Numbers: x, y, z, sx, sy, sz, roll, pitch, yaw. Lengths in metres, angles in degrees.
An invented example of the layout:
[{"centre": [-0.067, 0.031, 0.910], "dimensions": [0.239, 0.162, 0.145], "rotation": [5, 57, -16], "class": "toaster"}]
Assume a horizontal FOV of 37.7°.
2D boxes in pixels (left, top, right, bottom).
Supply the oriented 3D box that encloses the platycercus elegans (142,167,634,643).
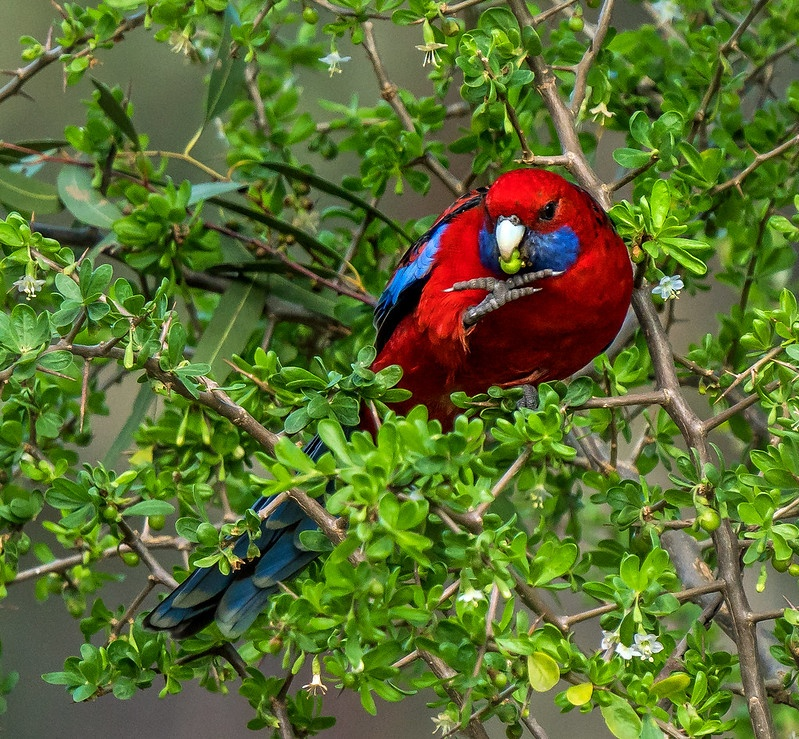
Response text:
[{"centre": [-0.026, 0.058, 2.428], "dimensions": [1.094, 0.477, 0.367], "rotation": [-39, -64, 16], "class": "platycercus elegans"}]
